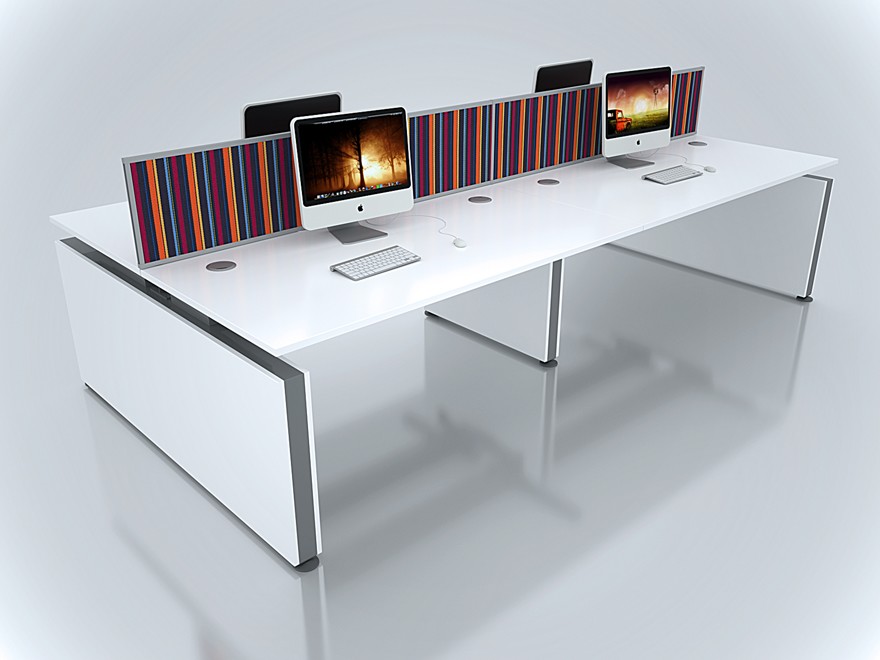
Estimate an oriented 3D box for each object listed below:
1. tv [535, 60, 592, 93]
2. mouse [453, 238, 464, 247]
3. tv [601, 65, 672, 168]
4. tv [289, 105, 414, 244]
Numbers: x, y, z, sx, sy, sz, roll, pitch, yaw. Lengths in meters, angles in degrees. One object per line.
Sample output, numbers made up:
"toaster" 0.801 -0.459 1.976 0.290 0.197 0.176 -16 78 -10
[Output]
"tv" 0.912 -1.886 4.696 0.123 0.203 0.696 5 19 44
"mouse" 0.094 -0.418 3.065 0.058 0.041 0.073 -7 13 2
"tv" 1.293 -1.421 4.214 0.575 0.535 0.185 -19 25 -33
"tv" -0.436 -0.741 3.080 0.581 0.557 0.167 -19 33 -34
